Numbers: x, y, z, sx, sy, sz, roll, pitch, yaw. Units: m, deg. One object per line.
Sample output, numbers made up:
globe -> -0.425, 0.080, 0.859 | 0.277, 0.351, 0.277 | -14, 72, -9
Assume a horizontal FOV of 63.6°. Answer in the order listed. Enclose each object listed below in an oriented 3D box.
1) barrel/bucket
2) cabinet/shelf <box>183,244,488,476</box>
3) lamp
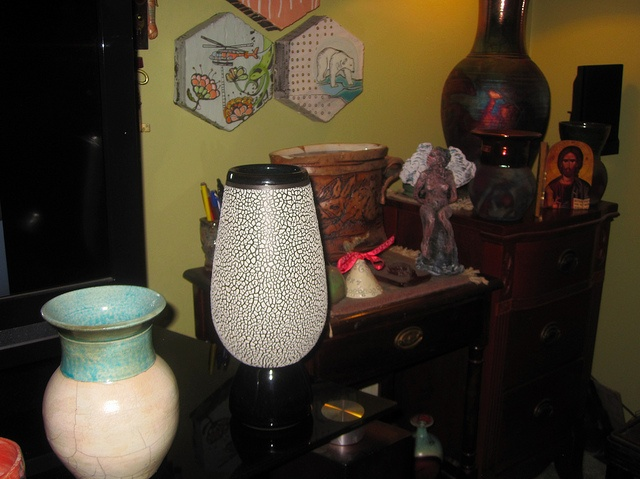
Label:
barrel/bucket -> 0.056, -0.124, 1.488 | 0.334, 0.296, 0.277 | -11, 14, -25
cabinet/shelf -> 0.107, 0.239, 1.424 | 0.552, 0.533, 0.463 | -10, 14, -41
lamp -> -0.095, 0.120, 0.899 | 0.180, 0.471, 0.203 | 8, 17, 25
